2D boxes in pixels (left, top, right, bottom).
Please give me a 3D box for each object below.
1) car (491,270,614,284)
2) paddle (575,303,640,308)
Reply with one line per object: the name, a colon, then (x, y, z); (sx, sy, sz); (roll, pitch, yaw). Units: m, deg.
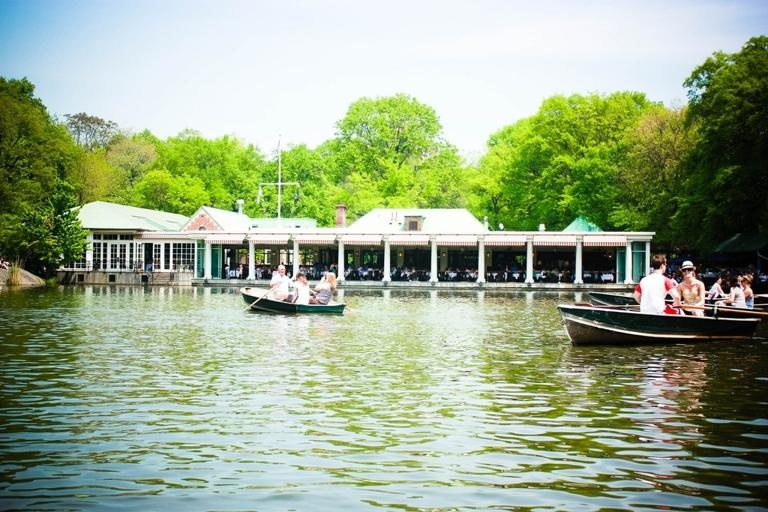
car: (13.716, 1.780, 63.917); (9.228, 1.055, 2.995); (-1, -5, 15)
paddle: (9.278, 2.039, 32.984); (2.100, 0.277, 0.540); (2, -1, -17)
